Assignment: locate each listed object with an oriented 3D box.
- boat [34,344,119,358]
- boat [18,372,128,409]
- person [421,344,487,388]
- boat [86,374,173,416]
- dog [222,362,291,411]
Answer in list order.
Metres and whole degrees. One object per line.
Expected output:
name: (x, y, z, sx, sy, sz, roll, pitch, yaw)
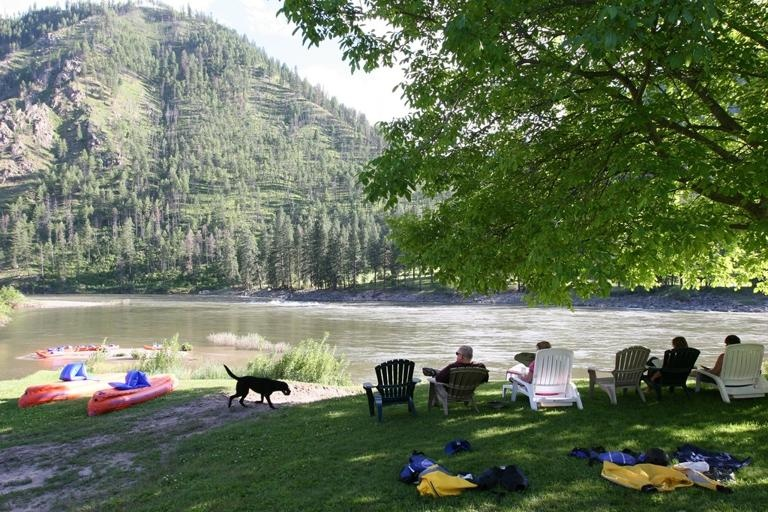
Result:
boat: (-16.433, 5.087, 38.597, 4.012, 0.741, 7.850, 2, -8, -26)
boat: (-10.793, 4.724, 25.999, 1.237, 0.586, 3.935, 9, 5, 28)
person: (2.172, 3.333, 22.158, 1.791, 1.119, 1.067, -3, -7, 20)
boat: (-8.527, 4.784, 25.075, 1.823, 0.643, 3.752, -11, 0, 24)
dog: (-4.146, 4.432, 23.657, 1.919, 1.080, 1.015, 1, -6, -13)
